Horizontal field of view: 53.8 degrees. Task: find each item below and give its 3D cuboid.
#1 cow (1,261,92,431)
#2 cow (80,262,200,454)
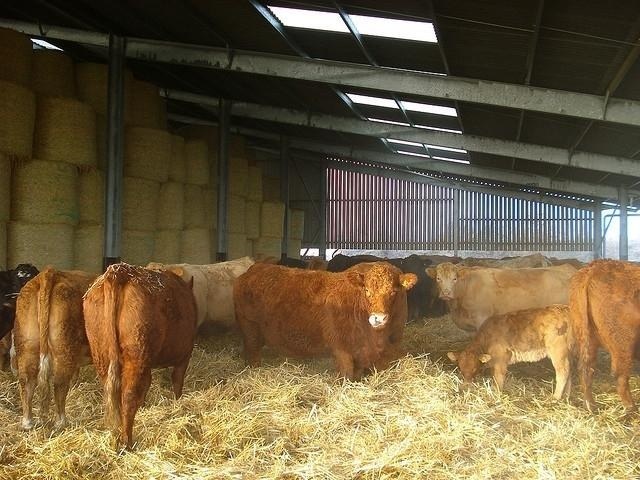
[{"bbox_3d":[-2.654,1.056,6.243,0.739,1.669,0.426,2,0,-18],"label":"cow"},{"bbox_3d":[-1.737,1.071,6.199,0.625,1.777,0.999,2,0,23],"label":"cow"}]
